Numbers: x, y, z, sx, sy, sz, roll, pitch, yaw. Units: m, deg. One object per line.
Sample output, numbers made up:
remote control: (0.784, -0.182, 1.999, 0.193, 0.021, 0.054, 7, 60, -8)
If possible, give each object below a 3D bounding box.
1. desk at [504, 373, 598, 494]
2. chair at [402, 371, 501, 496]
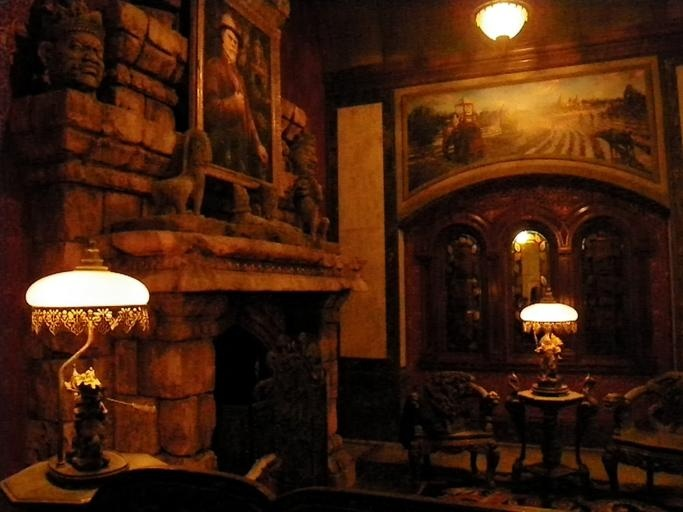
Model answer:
desk: (2.201, 1.777, 9.234, 0.911, 1.038, 1.209, 2, 5, 11)
chair: (1.114, 1.872, 8.952, 1.091, 1.193, 0.716, 0, -37, 3)
